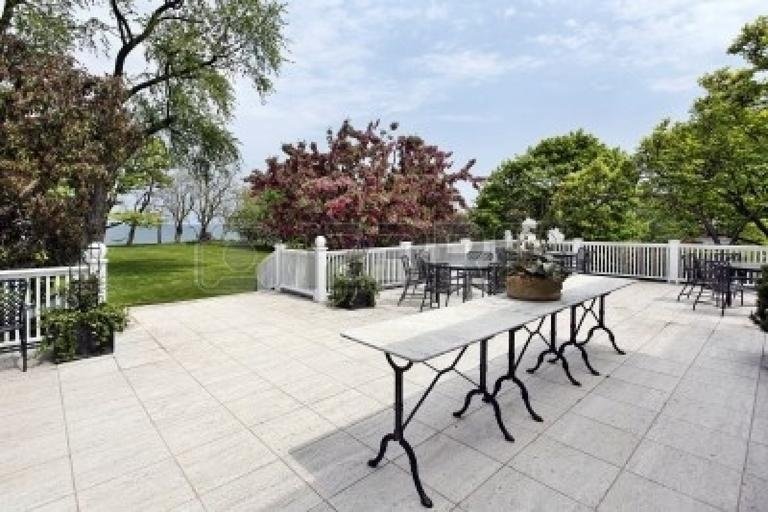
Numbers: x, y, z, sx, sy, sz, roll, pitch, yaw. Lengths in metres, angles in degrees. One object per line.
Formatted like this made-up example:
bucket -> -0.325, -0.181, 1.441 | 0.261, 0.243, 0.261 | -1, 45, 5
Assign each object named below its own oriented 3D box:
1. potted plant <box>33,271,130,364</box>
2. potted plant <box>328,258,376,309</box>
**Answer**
potted plant -> -5.728, 1.220, 9.662 | 1.402, 1.665, 1.581 | -14, -15, 27
potted plant -> -0.716, 0.635, 12.965 | 1.107, 1.341, 1.299 | 0, 0, 29
